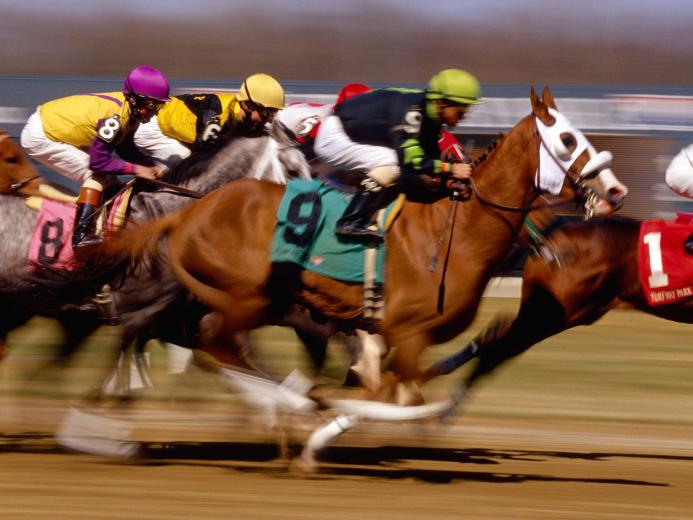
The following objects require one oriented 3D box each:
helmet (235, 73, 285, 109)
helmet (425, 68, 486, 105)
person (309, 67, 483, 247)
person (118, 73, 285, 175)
[{"bbox_3d":[-0.484,-1.043,5.066,0.342,0.145,0.202,8,15,6],"label":"helmet"},{"bbox_3d":[0.585,-0.928,4.377,0.314,0.191,0.231,4,10,16],"label":"helmet"},{"bbox_3d":[0.395,-0.652,4.635,1.122,0.933,0.703,18,29,34],"label":"person"},{"bbox_3d":[-0.956,-0.799,5.215,1.299,0.488,0.358,-4,-5,24],"label":"person"}]
